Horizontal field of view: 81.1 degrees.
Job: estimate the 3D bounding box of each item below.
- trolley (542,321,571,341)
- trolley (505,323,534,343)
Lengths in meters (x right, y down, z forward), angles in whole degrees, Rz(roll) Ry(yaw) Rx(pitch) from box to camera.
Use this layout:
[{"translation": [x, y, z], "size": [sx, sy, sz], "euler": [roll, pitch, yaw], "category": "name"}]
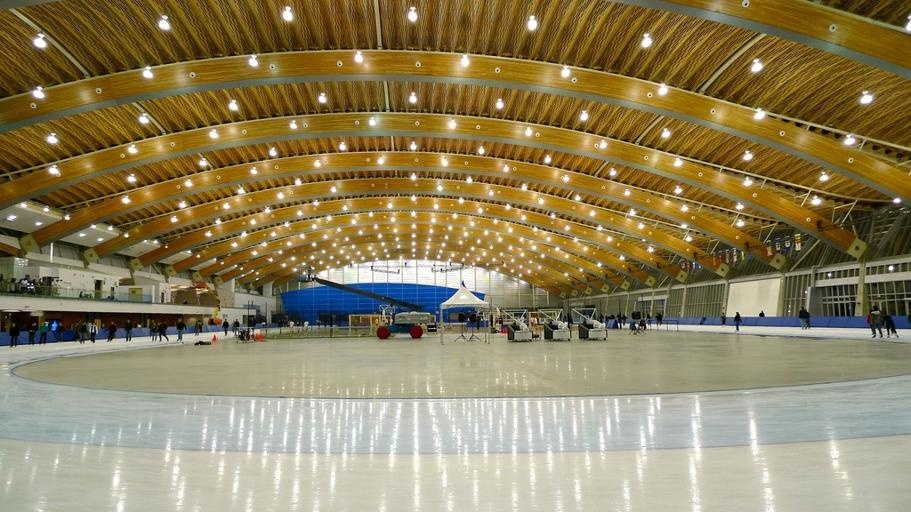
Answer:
[{"translation": [6.836, 5.144, 36.006], "size": [1.620, 1.270, 2.069], "euler": [0, 8, 5], "category": "trolley"}, {"translation": [4.224, 5.025, 35.000], "size": [1.436, 0.938, 1.267], "euler": [1, -14, -11], "category": "trolley"}]
